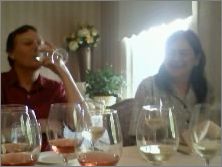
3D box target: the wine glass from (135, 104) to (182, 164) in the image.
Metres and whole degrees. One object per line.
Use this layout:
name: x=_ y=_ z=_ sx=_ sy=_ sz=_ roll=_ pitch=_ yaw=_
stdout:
wine glass: x=0.141 y=0.155 z=0.669 sx=0.127 sy=0.168 sz=0.070 roll=-5 pitch=-5 yaw=17

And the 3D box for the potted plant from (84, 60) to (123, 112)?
potted plant: x=-0.111 y=0.059 z=2.913 sx=0.492 sy=0.546 sz=0.447 roll=6 pitch=-16 yaw=-15

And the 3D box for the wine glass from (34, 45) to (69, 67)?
wine glass: x=-0.450 y=-0.208 z=1.637 sx=0.241 sy=0.111 sz=0.106 roll=-3 pitch=-19 yaw=25

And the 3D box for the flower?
flower: x=-0.482 y=-0.733 z=3.507 sx=0.437 sy=0.471 sz=0.462 roll=0 pitch=2 yaw=32
